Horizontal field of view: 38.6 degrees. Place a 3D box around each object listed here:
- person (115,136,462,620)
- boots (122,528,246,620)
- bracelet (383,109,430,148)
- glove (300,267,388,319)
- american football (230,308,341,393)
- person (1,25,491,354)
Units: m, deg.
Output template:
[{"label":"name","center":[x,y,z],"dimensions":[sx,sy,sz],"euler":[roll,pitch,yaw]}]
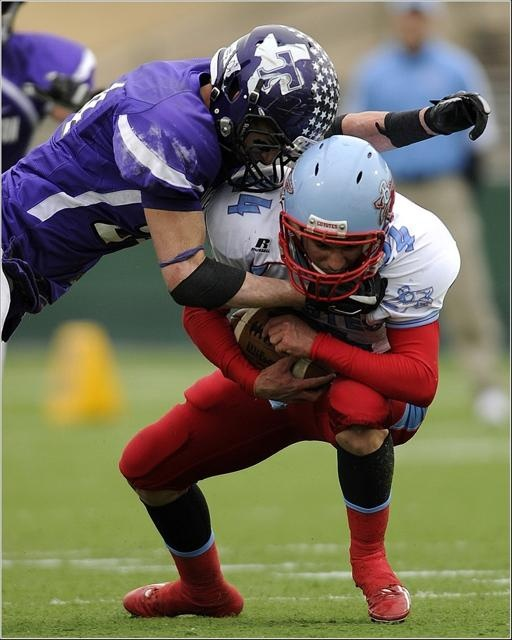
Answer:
[{"label":"person","center":[0.071,0.096,2.353],"dimensions":[1.299,1.337,0.855],"euler":[-12,28,-13]},{"label":"boots","center":[-0.226,0.751,2.114],"dimensions":[0.378,0.217,0.128],"euler":[-8,-6,15]},{"label":"bracelet","center":[0.442,-0.574,2.204],"dimensions":[0.062,0.079,0.150],"euler":[-42,23,-21]},{"label":"glove","center":[0.227,-0.072,1.830],"dimensions":[0.177,0.073,0.124],"euler":[-5,13,-2]},{"label":"american football","center":[0.089,0.052,2.063],"dimensions":[0.306,0.167,0.188],"euler":[31,10,5]},{"label":"person","center":[-0.039,-0.563,2.710],"dimensions":[2.268,0.787,1.171],"euler":[-1,16,0]}]
